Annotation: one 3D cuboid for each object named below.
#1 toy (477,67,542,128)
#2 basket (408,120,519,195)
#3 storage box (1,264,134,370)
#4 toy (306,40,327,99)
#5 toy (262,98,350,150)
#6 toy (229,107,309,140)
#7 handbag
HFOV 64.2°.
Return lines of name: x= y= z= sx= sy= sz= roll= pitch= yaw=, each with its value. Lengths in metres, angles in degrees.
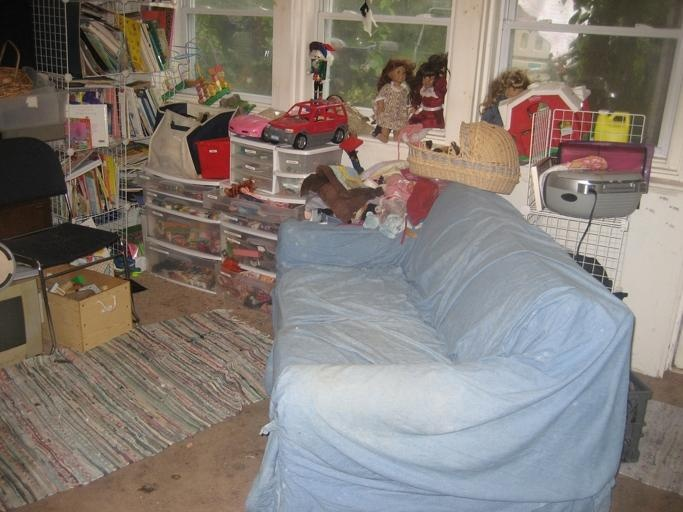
toy: x=0.990 y=-0.964 z=3.288 sx=0.251 sy=0.312 sz=0.297 roll=14 pitch=24 yaw=25
basket: x=0.642 y=-0.536 z=2.988 sx=0.576 sy=0.299 sz=0.358 roll=17 pitch=29 yaw=25
storage box: x=-1.567 y=0.370 z=3.100 sx=0.552 sy=0.348 sz=0.556 roll=8 pitch=18 yaw=33
toy: x=-0.155 y=-1.231 z=3.603 sx=0.118 sy=0.347 sz=0.308 roll=2 pitch=22 yaw=-3
toy: x=-0.221 y=-0.877 z=3.550 sx=0.526 sy=0.267 sz=0.319 roll=-18 pitch=32 yaw=-36
toy: x=-0.535 y=-0.878 z=3.544 sx=0.212 sy=0.136 sz=0.370 roll=26 pitch=34 yaw=34
handbag: x=-1.024 y=-0.802 z=3.828 sx=0.649 sy=0.438 sz=0.425 roll=23 pitch=20 yaw=23
